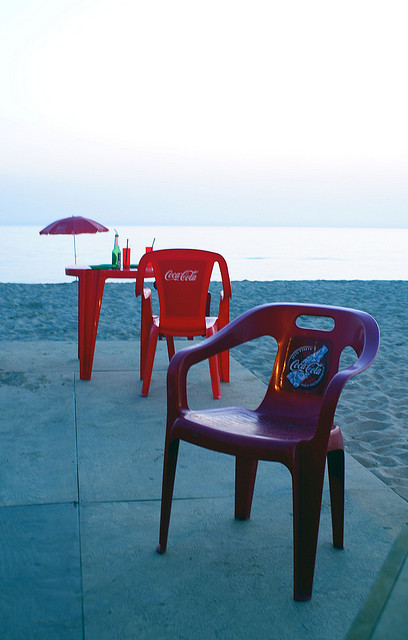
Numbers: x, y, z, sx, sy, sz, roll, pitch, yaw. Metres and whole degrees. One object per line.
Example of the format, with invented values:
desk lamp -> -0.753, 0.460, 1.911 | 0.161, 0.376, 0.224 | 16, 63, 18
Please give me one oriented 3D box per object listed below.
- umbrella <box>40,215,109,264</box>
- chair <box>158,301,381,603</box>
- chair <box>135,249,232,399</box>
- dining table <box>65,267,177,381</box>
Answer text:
umbrella -> -1.195, -0.686, 4.404 | 0.523, 0.538, 0.577 | 0, 15, 5
chair -> 0.225, 0.352, 1.519 | 0.573, 0.836, 0.535 | 4, 0, 44
chair -> -0.163, -0.054, 3.596 | 0.754, 1.395, 0.934 | 1, 6, 1
dining table -> -0.649, -0.040, 3.819 | 0.756, 0.923, 0.853 | 1, 7, -1
